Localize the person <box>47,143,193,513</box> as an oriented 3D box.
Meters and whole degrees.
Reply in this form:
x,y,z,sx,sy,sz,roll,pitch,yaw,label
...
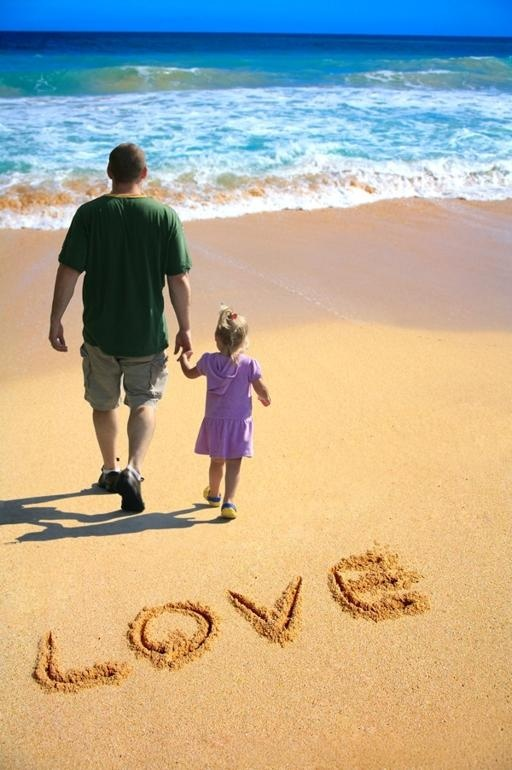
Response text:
x,y,z,sx,sy,sz,roll,pitch,yaw,label
-0.671,-0.124,3.651,0.701,1.575,0.478,1,21,-6,person

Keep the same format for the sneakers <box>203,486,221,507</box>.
x,y,z,sx,sy,sz,roll,pitch,yaw,label
-0.236,0.604,3.995,0.054,0.050,0.124,-6,23,-17,sneakers

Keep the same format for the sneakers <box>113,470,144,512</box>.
x,y,z,sx,sy,sz,roll,pitch,yaw,label
-0.611,0.514,3.634,0.099,0.267,0.117,-2,50,4,sneakers

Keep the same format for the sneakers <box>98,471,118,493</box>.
x,y,z,sx,sy,sz,roll,pitch,yaw,label
-0.788,0.518,3.950,0.074,0.102,0.151,6,17,-17,sneakers
